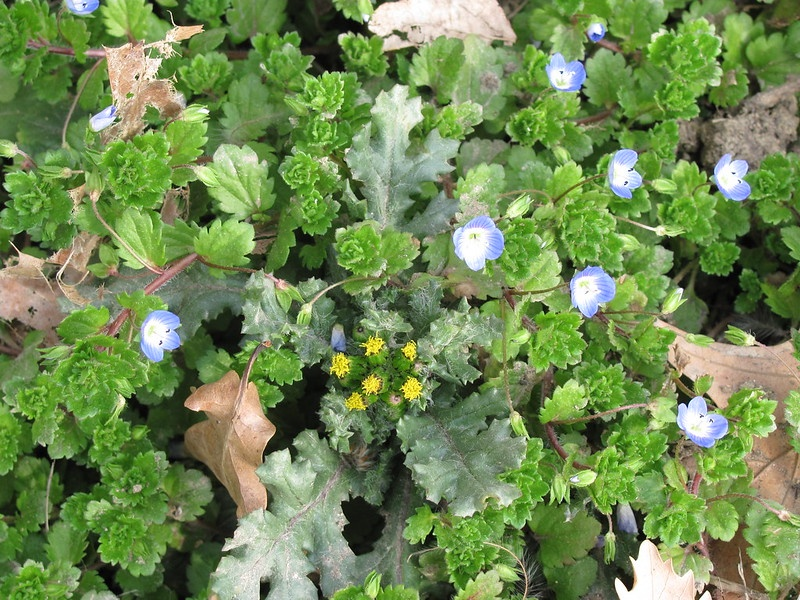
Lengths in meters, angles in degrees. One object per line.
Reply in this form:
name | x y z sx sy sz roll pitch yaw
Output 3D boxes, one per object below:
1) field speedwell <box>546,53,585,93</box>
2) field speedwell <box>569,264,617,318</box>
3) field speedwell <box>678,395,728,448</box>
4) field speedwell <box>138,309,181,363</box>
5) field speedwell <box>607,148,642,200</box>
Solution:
field speedwell | 0.742 -1.009 3.378 0.161 0.112 0.194 3 82 12
field speedwell | 0.761 -0.052 2.962 0.171 0.117 0.210 -9 99 -8
field speedwell | 1.196 0.492 2.993 0.169 0.128 0.218 22 72 7
field speedwell | -0.887 0.133 2.844 0.143 0.139 0.070 -27 43 28
field speedwell | 0.971 -0.532 3.162 0.199 0.118 0.226 -21 107 -38
